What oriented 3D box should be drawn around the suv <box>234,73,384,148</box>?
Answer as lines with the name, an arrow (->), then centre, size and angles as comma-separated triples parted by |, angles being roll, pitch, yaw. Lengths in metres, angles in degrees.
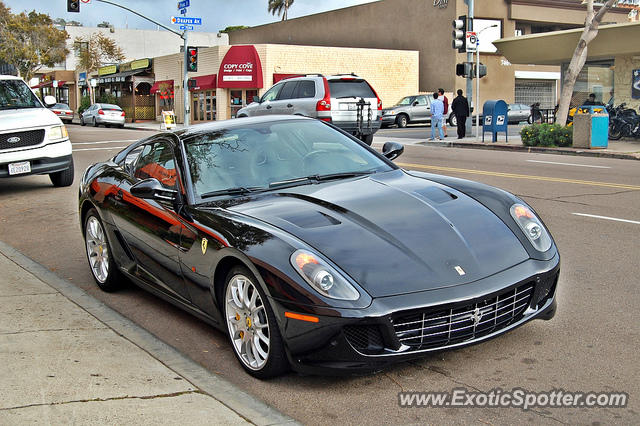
suv -> -0.717, -4.796, 20.606 | 3.479, 2.796, 7.059 | -7, 15, -40
